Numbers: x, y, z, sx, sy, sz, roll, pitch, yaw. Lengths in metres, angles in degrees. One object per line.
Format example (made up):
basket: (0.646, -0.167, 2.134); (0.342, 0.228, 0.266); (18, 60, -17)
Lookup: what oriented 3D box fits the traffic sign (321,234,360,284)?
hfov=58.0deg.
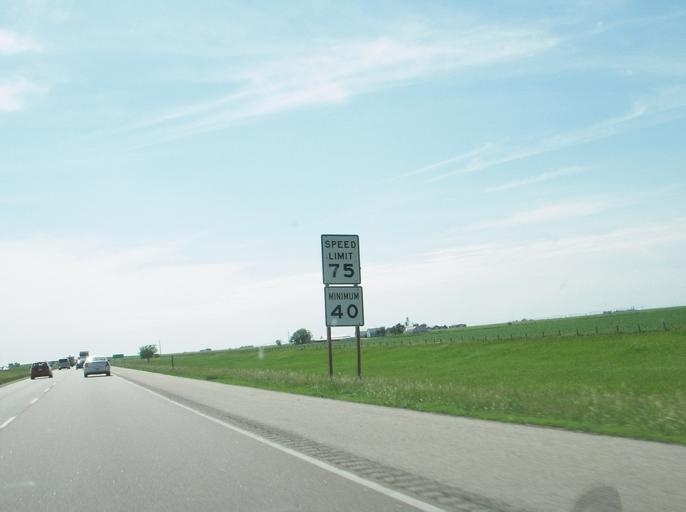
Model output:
traffic sign: (-0.189, 0.211, 27.955); (2.091, 2.600, 0.267); (-1, -6, -15)

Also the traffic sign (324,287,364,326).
traffic sign: (-0.039, 2.289, 27.654); (1.734, 1.713, 0.193); (-1, -4, -8)
